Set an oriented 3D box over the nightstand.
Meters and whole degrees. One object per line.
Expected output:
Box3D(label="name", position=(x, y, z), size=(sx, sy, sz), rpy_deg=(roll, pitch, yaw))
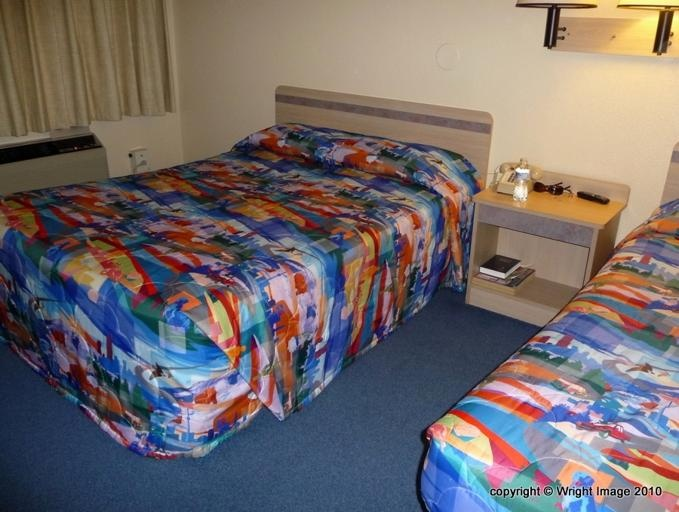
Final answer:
Box3D(label="nightstand", position=(1.318, -0.077, 3.175), size=(0.812, 0.889, 0.502), rpy_deg=(21, 36, 34))
